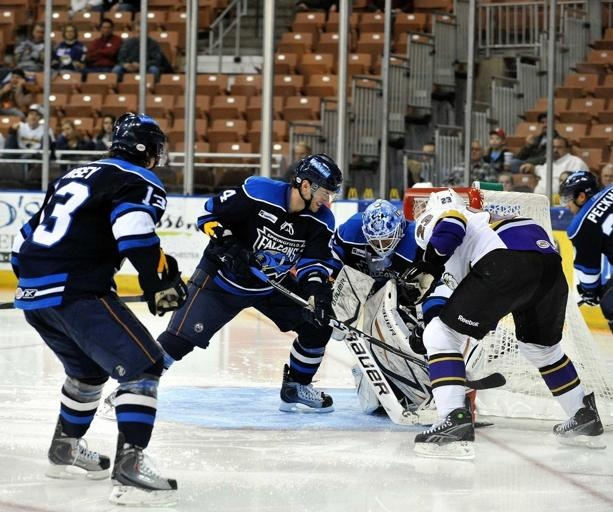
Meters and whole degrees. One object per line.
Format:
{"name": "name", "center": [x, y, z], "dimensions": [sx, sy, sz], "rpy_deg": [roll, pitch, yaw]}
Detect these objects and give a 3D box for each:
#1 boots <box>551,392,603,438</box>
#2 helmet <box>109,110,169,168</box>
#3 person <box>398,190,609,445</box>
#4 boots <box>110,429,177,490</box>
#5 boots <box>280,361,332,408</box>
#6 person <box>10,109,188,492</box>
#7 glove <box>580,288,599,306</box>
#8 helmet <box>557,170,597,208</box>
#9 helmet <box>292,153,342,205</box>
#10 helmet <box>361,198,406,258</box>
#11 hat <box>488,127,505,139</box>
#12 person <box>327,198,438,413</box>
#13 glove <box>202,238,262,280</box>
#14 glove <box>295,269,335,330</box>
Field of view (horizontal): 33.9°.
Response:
{"name": "boots", "center": [1.315, 0.784, 4.833], "dimensions": [0.097, 0.197, 0.276], "rpy_deg": [10, -19, -33]}
{"name": "helmet", "center": [-0.713, -0.489, 4.293], "dimensions": [0.192, 0.203, 0.250], "rpy_deg": [11, 7, 43]}
{"name": "person", "center": [0.861, 0.241, 4.934], "dimensions": [1.039, 1.335, 0.956], "rpy_deg": [8, -13, -40]}
{"name": "boots", "center": [-0.618, 0.835, 3.987], "dimensions": [0.320, 0.194, 0.110], "rpy_deg": [0, -7, 26]}
{"name": "boots", "center": [-0.015, 0.755, 5.435], "dimensions": [0.360, 0.255, 0.120], "rpy_deg": [1, -3, -2]}
{"name": "person", "center": [-0.827, 0.183, 4.139], "dimensions": [0.761, 1.513, 0.470], "rpy_deg": [3, 7, 17]}
{"name": "glove", "center": [1.662, 0.240, 5.842], "dimensions": [0.093, 0.103, 0.117], "rpy_deg": [-1, -22, -3]}
{"name": "helmet", "center": [1.518, -0.369, 5.679], "dimensions": [0.231, 0.199, 0.171], "rpy_deg": [7, 17, 19]}
{"name": "helmet", "center": [0.062, -0.385, 5.023], "dimensions": [0.264, 0.221, 0.201], "rpy_deg": [15, 18, 16]}
{"name": "helmet", "center": [0.398, -0.162, 5.251], "dimensions": [0.253, 0.262, 0.300], "rpy_deg": [-4, 33, 16]}
{"name": "hat", "center": [1.724, -1.107, 9.035], "dimensions": [0.137, 0.096, 0.192], "rpy_deg": [0, -3, 31]}
{"name": "person", "center": [0.365, 0.175, 5.470], "dimensions": [0.553, 0.996, 1.009], "rpy_deg": [2, 31, -1]}
{"name": "glove", "center": [-0.387, -0.024, 5.141], "dimensions": [0.211, 0.100, 0.344], "rpy_deg": [-5, -12, 3]}
{"name": "glove", "center": [0.055, 0.212, 5.053], "dimensions": [0.120, 0.094, 0.372], "rpy_deg": [-17, 28, -9]}
